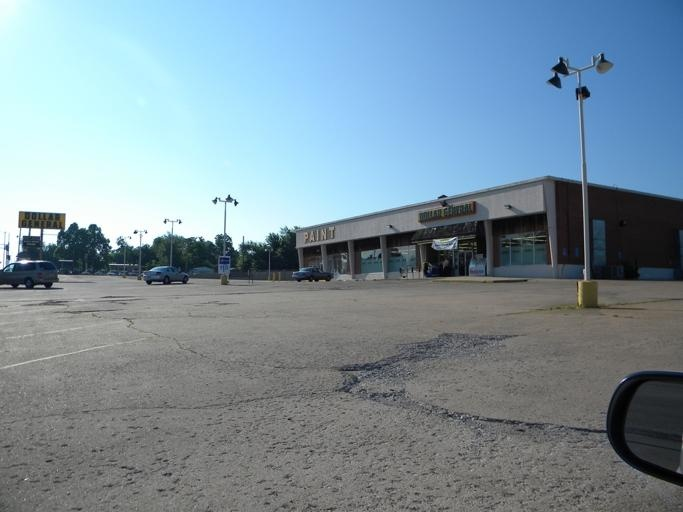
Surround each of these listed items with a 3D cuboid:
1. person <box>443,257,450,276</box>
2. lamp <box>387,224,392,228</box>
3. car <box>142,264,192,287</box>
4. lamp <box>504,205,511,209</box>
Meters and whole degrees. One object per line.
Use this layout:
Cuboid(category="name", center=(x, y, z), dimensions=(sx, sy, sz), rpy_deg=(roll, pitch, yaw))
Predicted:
Cuboid(category="person", center=(8.976, 0.823, 47.122), dimensions=(0.730, 1.511, 1.375), rpy_deg=(0, 5, 10))
Cuboid(category="lamp", center=(4.616, -2.976, 53.615), dimensions=(0.326, 0.193, 0.568), rpy_deg=(1, 1, -4))
Cuboid(category="car", center=(-14.836, 1.655, 46.022), dimensions=(2.383, 1.626, 4.484), rpy_deg=(0, 5, 5))
Cuboid(category="lamp", center=(12.273, -3.703, 40.551), dimensions=(0.095, 0.351, 0.668), rpy_deg=(-3, 5, -29))
